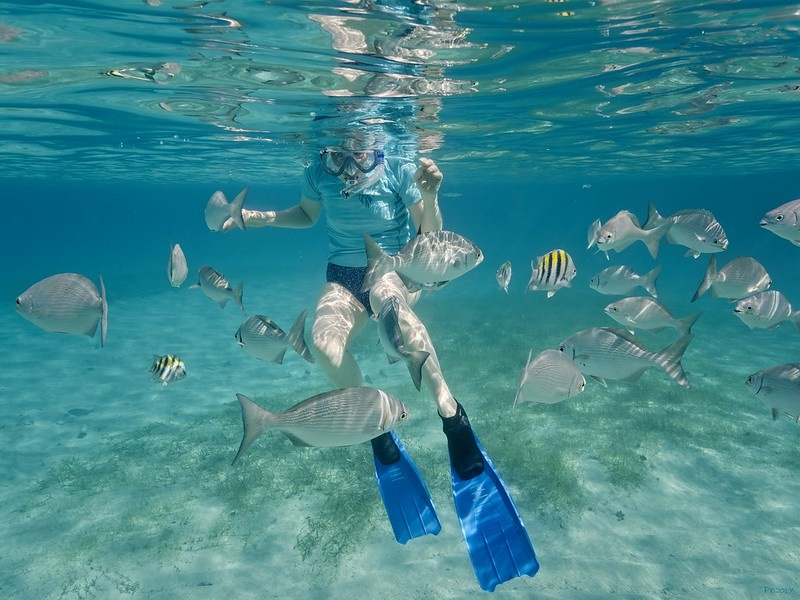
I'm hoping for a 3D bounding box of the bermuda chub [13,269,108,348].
[{"bbox_3d":[-5.151,0.057,8.208,1.150,0.827,0.605,11,31,10],"label":"bermuda chub"}]

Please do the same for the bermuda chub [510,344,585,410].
[{"bbox_3d":[2.146,1.199,8.252,1.886,0.877,0.544,2,0,-31],"label":"bermuda chub"}]

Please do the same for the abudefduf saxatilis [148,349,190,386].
[{"bbox_3d":[-4.641,1.392,10.729,0.554,0.728,0.435,-12,36,-27],"label":"abudefduf saxatilis"}]

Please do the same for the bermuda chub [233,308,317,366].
[{"bbox_3d":[-2.216,0.651,8.993,1.930,0.843,0.583,0,5,37],"label":"bermuda chub"}]

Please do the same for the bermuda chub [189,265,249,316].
[{"bbox_3d":[-3.528,-0.270,10.609,1.168,1.158,0.897,3,10,-1],"label":"bermuda chub"}]
